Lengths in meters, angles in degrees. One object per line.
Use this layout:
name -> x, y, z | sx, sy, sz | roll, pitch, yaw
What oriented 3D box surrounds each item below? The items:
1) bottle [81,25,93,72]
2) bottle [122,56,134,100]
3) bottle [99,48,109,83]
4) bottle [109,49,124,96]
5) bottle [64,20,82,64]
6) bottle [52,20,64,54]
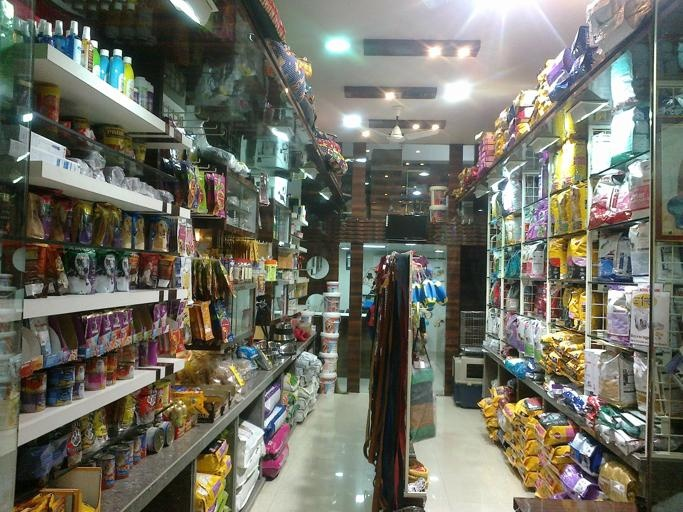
bottle -> -1.038, -0.845, 2.154 | 0.044, 0.160, 0.133 | 2, 0, -13
bottle -> -0.973, -0.805, 2.413 | 0.049, 0.175, 0.193 | 2, 0, -21
bottle -> -1.011, -0.808, 2.249 | 0.038, 0.121, 0.083 | 2, 0, -25
bottle -> -0.984, -0.810, 2.313 | 0.056, 0.167, 0.128 | 2, 0, -10
bottle -> -1.038, -0.824, 2.044 | 0.059, 0.154, 0.149 | 2, 0, -28
bottle -> -1.107, -0.857, 2.061 | 0.044, 0.115, 0.149 | 2, 0, -29
